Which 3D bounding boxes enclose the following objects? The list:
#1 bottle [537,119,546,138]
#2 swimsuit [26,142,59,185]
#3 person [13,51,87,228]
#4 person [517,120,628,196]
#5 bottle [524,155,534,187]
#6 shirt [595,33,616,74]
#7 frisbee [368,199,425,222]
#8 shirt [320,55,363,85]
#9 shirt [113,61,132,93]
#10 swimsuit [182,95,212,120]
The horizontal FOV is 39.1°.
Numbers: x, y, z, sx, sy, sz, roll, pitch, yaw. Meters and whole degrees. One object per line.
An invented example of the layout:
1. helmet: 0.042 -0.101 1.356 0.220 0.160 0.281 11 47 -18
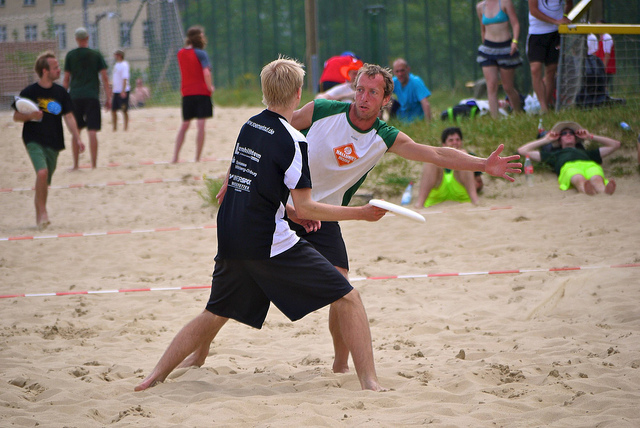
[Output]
1. bottle: 3.706 -1.426 15.086 0.131 0.303 0.300 2 8 14
2. swimsuit: -4.264 -0.768 13.771 0.364 0.667 0.461 6 10 36
3. person: -4.268 -1.164 14.093 0.820 2.675 1.259 0 8 -2
4. person: 4.110 -0.932 14.638 1.603 1.152 1.041 4 9 29
5. bottle: 3.437 -0.717 14.847 0.158 0.501 0.301 2 9 13
6. shirt: 4.989 -2.813 15.547 0.448 0.795 0.465 -4 33 13
7. frisbee: 0.832 -0.028 9.900 0.594 0.248 0.192 -3 9 -21
8. shirt: 0.313 -3.033 18.511 0.885 0.231 0.981 -22 -16 16
9. shirt: -4.139 -2.793 18.447 0.345 0.627 0.612 -2 8 -12
10. swimsuit: -2.208 -1.951 16.331 0.817 0.502 0.413 0 9 -4
